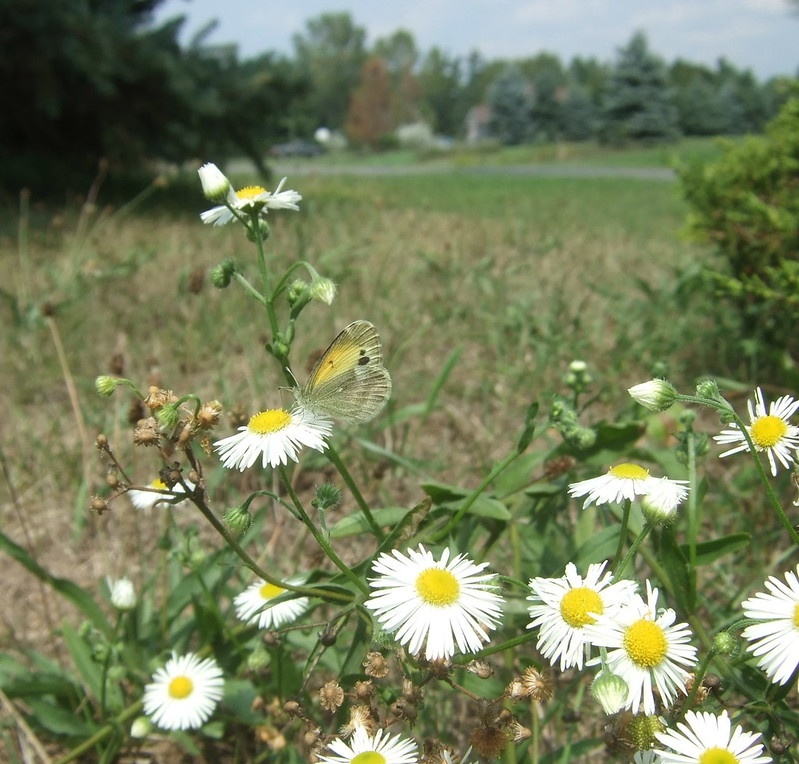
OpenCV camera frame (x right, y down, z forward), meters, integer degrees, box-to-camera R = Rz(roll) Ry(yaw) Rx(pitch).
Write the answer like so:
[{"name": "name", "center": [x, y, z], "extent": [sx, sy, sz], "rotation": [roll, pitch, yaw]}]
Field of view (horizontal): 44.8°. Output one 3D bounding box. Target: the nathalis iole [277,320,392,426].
[{"name": "nathalis iole", "center": [-0.132, -0.013, 2.236], "extent": [0.194, 0.237, 0.171], "rotation": [16, 54, -17]}]

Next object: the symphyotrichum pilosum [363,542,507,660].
[{"name": "symphyotrichum pilosum", "center": [0.087, 0.454, 2.041], "extent": [0.281, 0.104, 0.338], "rotation": [-2, 10, -3]}]

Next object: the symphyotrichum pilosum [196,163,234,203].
[{"name": "symphyotrichum pilosum", "center": [-0.409, -0.449, 2.166], "extent": [0.070, 0.089, 0.121], "rotation": [-9, 20, -9]}]
